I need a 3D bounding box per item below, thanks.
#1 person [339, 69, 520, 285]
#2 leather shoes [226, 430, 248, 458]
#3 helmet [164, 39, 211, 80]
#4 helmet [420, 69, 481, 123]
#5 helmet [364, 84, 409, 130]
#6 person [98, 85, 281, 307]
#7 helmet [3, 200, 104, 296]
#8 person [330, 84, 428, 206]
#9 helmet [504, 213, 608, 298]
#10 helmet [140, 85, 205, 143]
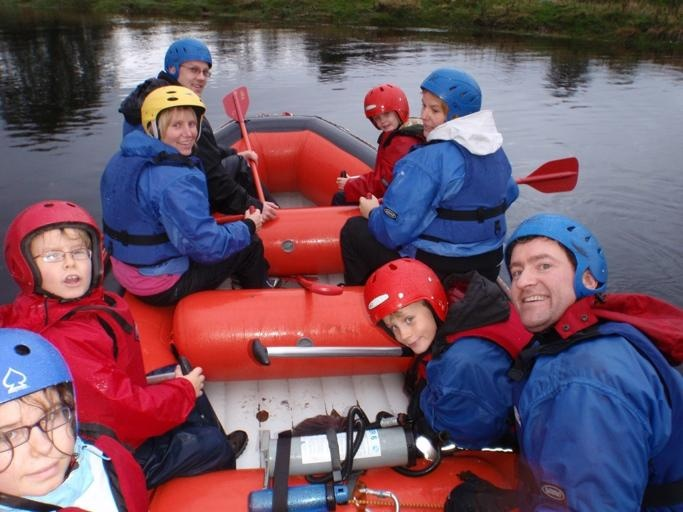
[{"bbox_3d":[0.495,-0.304,4.151,1.088,1.616,0.846,11,24,19],"label":"person"},{"bbox_3d":[-0.547,0.957,3.470,0.094,0.117,0.046,-1,-15,11],"label":"leather shoes"},{"bbox_3d":[-1.125,-1.387,4.736,0.335,0.255,0.250,5,9,11],"label":"helmet"},{"bbox_3d":[0.604,-0.936,3.934,0.342,0.240,0.256,25,6,-8],"label":"helmet"},{"bbox_3d":[0.318,-1.032,4.607,0.358,0.259,0.264,-21,15,-41],"label":"helmet"},{"bbox_3d":[-0.890,-0.286,3.988,0.964,1.348,0.893,-17,28,-28],"label":"person"},{"bbox_3d":[-1.332,-0.020,3.097,0.358,0.363,0.453,-7,-13,-34],"label":"helmet"},{"bbox_3d":[0.278,-0.647,4.727,0.772,1.052,0.569,-2,19,-11],"label":"person"},{"bbox_3d":[0.901,0.031,2.917,0.424,0.381,0.328,-16,7,-42],"label":"helmet"},{"bbox_3d":[-0.955,-0.796,3.793,0.376,0.286,0.384,-2,7,-9],"label":"helmet"}]
